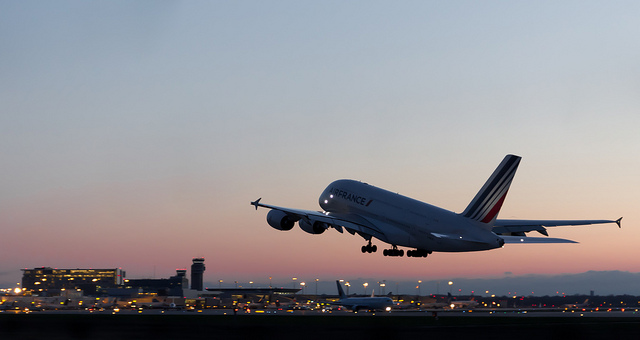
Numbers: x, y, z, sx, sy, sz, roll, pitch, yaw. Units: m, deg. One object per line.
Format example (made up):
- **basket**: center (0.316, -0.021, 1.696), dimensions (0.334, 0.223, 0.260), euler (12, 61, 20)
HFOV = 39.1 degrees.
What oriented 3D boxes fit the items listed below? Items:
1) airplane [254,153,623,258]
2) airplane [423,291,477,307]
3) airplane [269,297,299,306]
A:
- **airplane**: center (18.883, 13.225, 163.103), dimensions (61.196, 29.002, 17.281), euler (1, -15, -4)
- **airplane**: center (34.523, 34.265, 235.466), dimensions (12.086, 4.083, 40.441), euler (-2, -10, 9)
- **airplane**: center (-10.034, 36.163, 246.561), dimensions (7.781, 1.282, 6.821), euler (2, -3, -42)
